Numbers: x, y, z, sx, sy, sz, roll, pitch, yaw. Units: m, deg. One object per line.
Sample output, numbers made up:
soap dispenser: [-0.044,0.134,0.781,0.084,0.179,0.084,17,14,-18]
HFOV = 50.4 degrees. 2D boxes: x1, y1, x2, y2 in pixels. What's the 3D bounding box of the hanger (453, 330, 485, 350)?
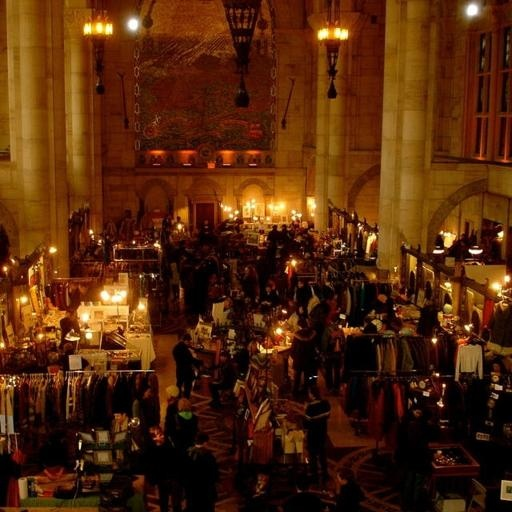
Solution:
hanger: [3.102,1.218,7.825,0.353,0.154,0.414,0,6,-7]
